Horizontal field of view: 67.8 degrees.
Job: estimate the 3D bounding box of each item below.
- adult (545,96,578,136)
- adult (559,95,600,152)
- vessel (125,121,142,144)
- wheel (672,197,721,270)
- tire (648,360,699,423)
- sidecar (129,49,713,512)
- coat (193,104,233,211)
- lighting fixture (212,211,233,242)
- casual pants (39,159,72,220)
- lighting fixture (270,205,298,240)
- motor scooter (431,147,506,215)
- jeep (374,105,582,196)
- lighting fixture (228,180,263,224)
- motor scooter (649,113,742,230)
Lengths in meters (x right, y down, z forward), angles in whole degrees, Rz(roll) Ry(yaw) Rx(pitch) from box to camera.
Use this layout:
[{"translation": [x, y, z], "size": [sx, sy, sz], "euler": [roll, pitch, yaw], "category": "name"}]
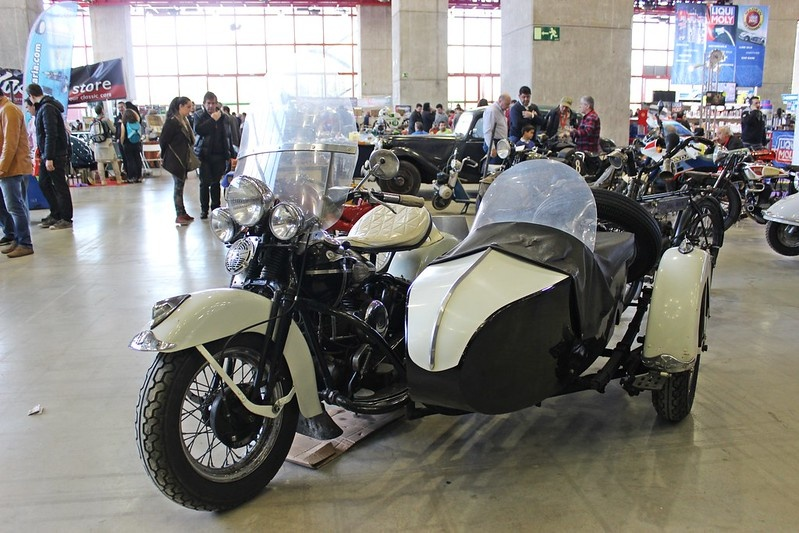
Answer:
[{"translation": [2.991, -2.556, 10.890], "size": [0.623, 1.117, 0.365], "euler": [7, -27, 12], "category": "adult"}, {"translation": [3.278, -2.222, 10.607], "size": [0.511, 1.478, 0.652], "euler": [1, 26, 15], "category": "adult"}, {"translation": [-6.799, -3.416, 15.101], "size": [0.402, 0.448, 0.561], "euler": [-5, -5, -21], "category": "vessel"}, {"translation": [2.992, -0.344, 5.913], "size": [0.828, 0.726, 0.330], "euler": [-5, 6, -39], "category": "wheel"}, {"translation": [1.749, 0.729, 3.712], "size": [0.120, 0.440, 0.430], "euler": [4, 35, 39], "category": "tire"}, {"translation": [0.172, 0.182, 3.600], "size": [3.293, 1.898, 2.143], "euler": [-7, 9, -29], "category": "sidecar"}, {"translation": [-2.951, -1.774, 9.448], "size": [0.607, 1.940, 0.518], "euler": [-10, 20, -41], "category": "coat"}, {"translation": [-0.960, -0.216, 3.204], "size": [0.076, 0.186, 0.142], "euler": [-10, 15, -42], "category": "lighting fixture"}, {"translation": [-5.369, -1.189, 9.181], "size": [0.382, 0.360, 1.146], "euler": [-10, -23, -35], "category": "casual pants"}, {"translation": [-0.593, -0.235, 3.074], "size": [0.171, 0.178, 0.070], "euler": [-2, 11, -12], "category": "lighting fixture"}, {"translation": [1.069, -1.156, 8.968], "size": [0.544, 0.782, 1.365], "euler": [-2, 17, -32], "category": "motor scooter"}, {"translation": [1.286, -2.159, 11.300], "size": [3.210, 1.879, 1.261], "euler": [-1, 6, -15], "category": "jeep"}, {"translation": [-0.807, -0.333, 3.068], "size": [0.206, 0.261, 0.111], "euler": [7, 13, 32], "category": "lighting fixture"}, {"translation": [3.339, -1.046, 6.900], "size": [1.357, 0.931, 0.790], "euler": [13, 1, -8], "category": "motor scooter"}]
